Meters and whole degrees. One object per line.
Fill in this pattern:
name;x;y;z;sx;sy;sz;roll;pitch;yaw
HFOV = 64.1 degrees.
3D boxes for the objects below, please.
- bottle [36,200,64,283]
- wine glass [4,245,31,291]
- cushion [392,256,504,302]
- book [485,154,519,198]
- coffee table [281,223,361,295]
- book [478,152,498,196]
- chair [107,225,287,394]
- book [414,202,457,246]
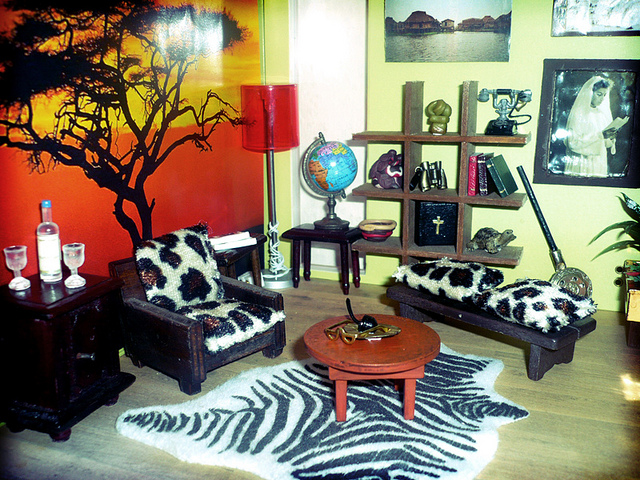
bottle;-1.704;0.007;3.177;0.150;0.500;0.193;-11;17;-26
wine glass;-1.827;0.157;3.094;0.125;0.249;0.227;-6;15;-10
cushion;1.029;0.321;4.058;0.724;0.215;0.690;13;16;41
book;1.593;-0.564;4.479;0.216;0.340;0.360;6;17;31
coffee table;0.049;0.181;5.164;0.715;0.650;0.389;3;16;21
book;1.441;-0.560;4.439;0.073;0.295;0.303;-5;19;30
chair;-0.898;0.468;3.749;0.902;0.980;0.912;11;20;43
book;1.074;-0.145;4.680;0.328;0.411;0.056;1;16;14
